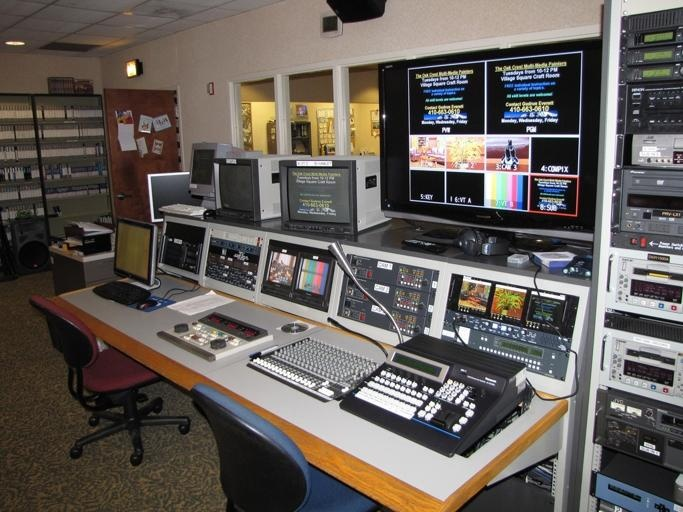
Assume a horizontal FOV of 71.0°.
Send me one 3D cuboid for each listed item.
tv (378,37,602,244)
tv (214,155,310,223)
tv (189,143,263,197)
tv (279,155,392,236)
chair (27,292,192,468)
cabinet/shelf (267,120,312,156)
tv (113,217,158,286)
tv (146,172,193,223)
[{"bbox_3d":[0.682,-0.554,2.341,0.119,0.857,1.290,-19,22,-33],"label":"tv"},{"bbox_3d":[-0.575,-0.471,3.307,0.539,0.341,0.549,3,13,17],"label":"tv"},{"bbox_3d":[-1.011,-0.742,4.427,0.689,0.536,0.653,1,8,-31],"label":"tv"},{"bbox_3d":[-0.024,-0.381,2.906,0.601,0.394,0.624,-14,17,-42],"label":"tv"},{"bbox_3d":[-1.394,0.707,2.956,0.722,0.945,0.659,-9,12,-31],"label":"chair"},{"bbox_3d":[-0.940,-2.138,8.666,0.831,0.575,0.508,-3,15,-9],"label":"cabinet/shelf"},{"bbox_3d":[-1.435,-0.040,3.310,0.544,0.417,0.127,13,21,42],"label":"tv"},{"bbox_3d":[-1.519,-0.520,4.243,0.353,0.410,0.342,-6,16,-18],"label":"tv"}]
